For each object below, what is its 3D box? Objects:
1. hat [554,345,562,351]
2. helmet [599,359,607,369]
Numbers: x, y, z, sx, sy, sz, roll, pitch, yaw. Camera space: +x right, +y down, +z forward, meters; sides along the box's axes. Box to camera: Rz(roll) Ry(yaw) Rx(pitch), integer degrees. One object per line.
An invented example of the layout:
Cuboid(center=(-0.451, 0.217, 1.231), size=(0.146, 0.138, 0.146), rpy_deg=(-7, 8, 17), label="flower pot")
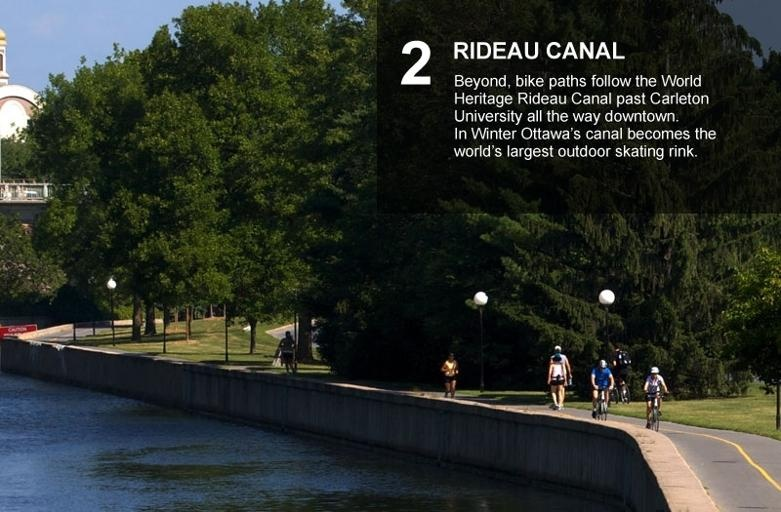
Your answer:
Cuboid(center=(8.156, 4.449, 71.515), size=(0.404, 0.213, 0.397), rpy_deg=(1, 5, 0), label="hat")
Cuboid(center=(10.099, 5.018, 70.017), size=(0.294, 0.362, 0.363), rpy_deg=(-3, -12, 4), label="helmet")
